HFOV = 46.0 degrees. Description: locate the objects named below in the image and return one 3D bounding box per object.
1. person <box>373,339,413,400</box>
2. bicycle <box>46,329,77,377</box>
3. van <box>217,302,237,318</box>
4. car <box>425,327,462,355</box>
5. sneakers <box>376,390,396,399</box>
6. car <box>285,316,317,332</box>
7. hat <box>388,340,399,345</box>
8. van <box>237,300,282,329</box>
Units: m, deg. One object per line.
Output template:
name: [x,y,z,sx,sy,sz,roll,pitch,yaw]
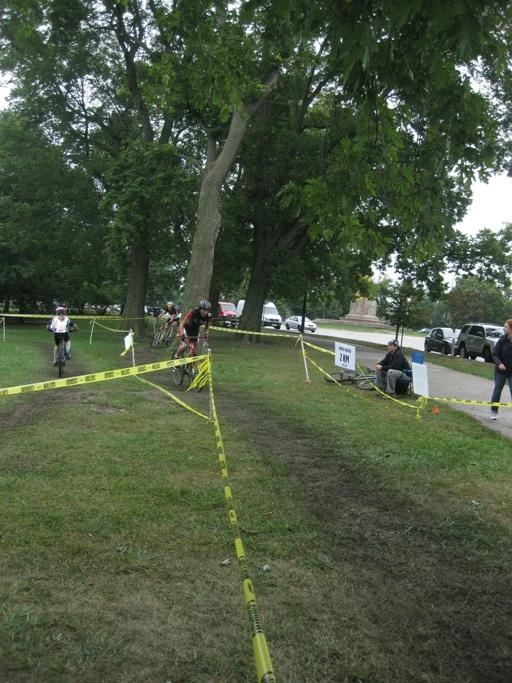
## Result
person: [3.049,0.625,13.320,1.174,1.517,0.955,2,2,3]
bicycle: [-4.201,0.213,12.952,0.552,0.646,1.090,0,4,-15]
van: [-2.374,-2.678,50.683,1.323,1.081,2.132,-2,1,-18]
car: [10.606,-0.130,33.806,1.295,1.124,2.741,0,-2,-6]
sneakers: [2.838,1.152,13.209,0.459,0.194,0.150,0,4,14]
car: [4.284,-1.793,56.078,1.789,1.461,4.132,1,0,-26]
hat: [2.980,0.048,12.976,0.226,0.111,0.164,7,-1,-30]
van: [1.306,-2.493,55.738,2.492,2.603,4.954,0,1,-24]
